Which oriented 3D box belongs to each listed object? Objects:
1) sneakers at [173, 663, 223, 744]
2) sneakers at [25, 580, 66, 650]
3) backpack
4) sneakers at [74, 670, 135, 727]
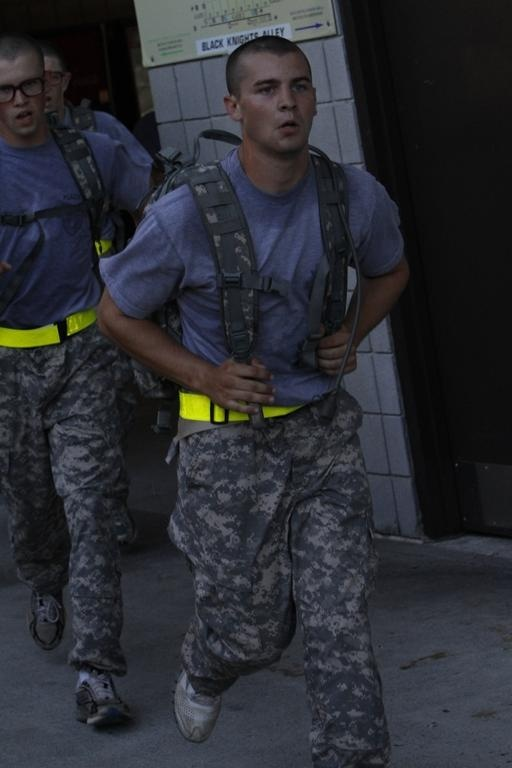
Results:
[{"bbox_3d":[-0.159,0.825,1.850,0.096,0.104,0.231,12,30,-14],"label":"sneakers"},{"bbox_3d":[-0.818,0.912,2.864,0.103,0.267,0.112,-3,1,-5],"label":"sneakers"},{"bbox_3d":[0.044,-0.289,1.566,0.313,0.396,0.427,-6,36,3],"label":"backpack"},{"bbox_3d":[-0.469,0.968,2.298,0.158,0.138,0.313,1,-11,-24],"label":"sneakers"}]
